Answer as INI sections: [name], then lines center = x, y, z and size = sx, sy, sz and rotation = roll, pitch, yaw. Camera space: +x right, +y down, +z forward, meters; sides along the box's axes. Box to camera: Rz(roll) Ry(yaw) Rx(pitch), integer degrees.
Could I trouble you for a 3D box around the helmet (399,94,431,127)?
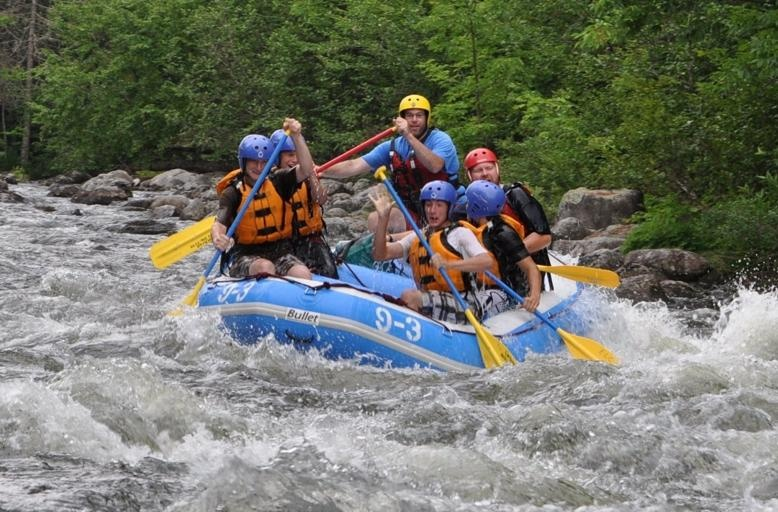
[helmet]
center = 0.383, -2.134, 12.432
size = 0.402, 0.539, 0.436
rotation = 0, 11, 4
